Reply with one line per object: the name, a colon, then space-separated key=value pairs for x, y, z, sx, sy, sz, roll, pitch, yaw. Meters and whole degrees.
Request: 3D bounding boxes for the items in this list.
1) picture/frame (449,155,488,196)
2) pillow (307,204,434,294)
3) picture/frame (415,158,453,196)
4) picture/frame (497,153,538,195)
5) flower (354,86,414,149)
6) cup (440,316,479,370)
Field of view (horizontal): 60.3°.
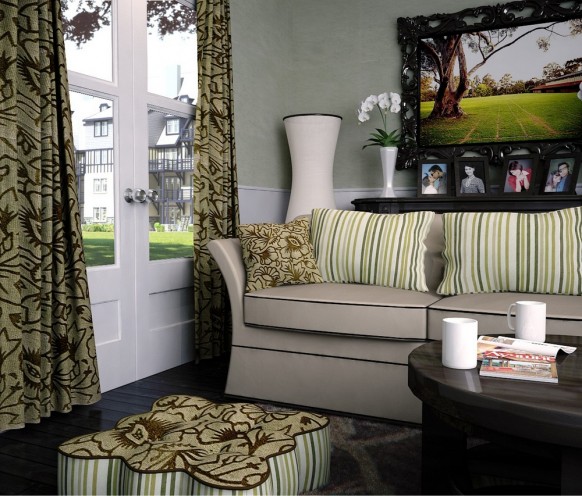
picture/frame: x=1.354 y=-0.541 z=3.790 sx=0.324 sy=0.458 sz=0.045 roll=-1 pitch=-11 yaw=18
pillow: x=0.414 y=0.005 z=2.729 sx=0.648 sy=0.431 sz=0.230 roll=5 pitch=14 yaw=18
picture/frame: x=1.125 y=-0.548 z=3.899 sx=0.301 sy=0.424 sz=0.042 roll=1 pitch=-12 yaw=11
picture/frame: x=1.682 y=-0.539 z=3.690 sx=0.231 sy=0.337 sz=0.028 roll=-5 pitch=36 yaw=14
flower: x=0.765 y=-1.025 z=4.141 sx=0.400 sy=0.479 sz=0.471 roll=-2 pitch=-7 yaw=17
cup: x=0.424 y=0.261 z=1.350 sx=0.106 sy=0.137 sz=0.125 roll=0 pitch=-2 yaw=5
